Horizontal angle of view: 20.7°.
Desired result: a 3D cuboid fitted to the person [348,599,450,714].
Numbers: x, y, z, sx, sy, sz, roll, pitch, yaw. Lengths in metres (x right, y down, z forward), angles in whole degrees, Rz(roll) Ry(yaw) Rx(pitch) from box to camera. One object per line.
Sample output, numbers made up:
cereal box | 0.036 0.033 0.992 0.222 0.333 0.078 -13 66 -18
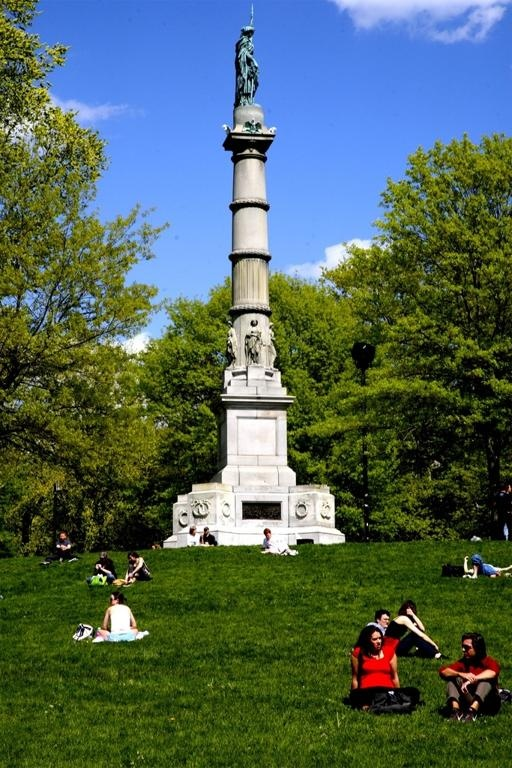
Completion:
person | 1.784 3.747 18.758 1.048 1.465 1.202 -10 -17 28

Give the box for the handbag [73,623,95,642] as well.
handbag | -2.837 4.045 22.694 0.205 0.308 0.273 15 11 29

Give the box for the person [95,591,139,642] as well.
person | -2.224 3.783 22.444 0.829 0.957 0.635 1 -6 -4

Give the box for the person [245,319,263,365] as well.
person | -0.118 -1.090 37.451 0.437 1.150 0.738 -3 4 9

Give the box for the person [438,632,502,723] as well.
person | 2.684 3.722 17.580 0.682 1.171 0.944 -11 -20 36

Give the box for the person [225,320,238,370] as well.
person | -0.684 -1.028 37.908 0.310 1.066 0.858 -4 4 -4
